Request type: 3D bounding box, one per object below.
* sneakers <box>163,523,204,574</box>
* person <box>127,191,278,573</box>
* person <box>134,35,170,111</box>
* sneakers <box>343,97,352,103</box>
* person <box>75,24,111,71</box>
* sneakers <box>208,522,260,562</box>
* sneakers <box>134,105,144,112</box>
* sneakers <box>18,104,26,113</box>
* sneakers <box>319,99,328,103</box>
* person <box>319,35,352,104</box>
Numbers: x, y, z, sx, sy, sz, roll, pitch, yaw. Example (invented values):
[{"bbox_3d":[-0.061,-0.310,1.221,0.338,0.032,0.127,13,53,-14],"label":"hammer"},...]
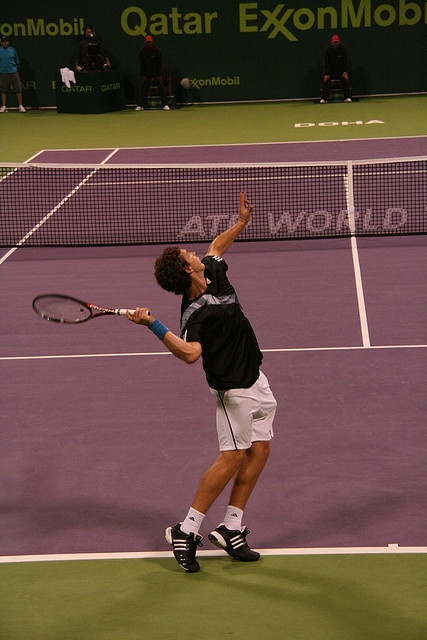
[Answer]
[{"bbox_3d":[-0.143,1.104,2.942,0.166,0.240,0.100,-3,3,-8],"label":"sneakers"},{"bbox_3d":[-0.030,0.436,3.050,0.386,1.605,0.787,-1,4,39],"label":"person"},{"bbox_3d":[-2.182,-8.630,21.292,1.163,2.374,1.471,-4,3,-6],"label":"person"},{"bbox_3d":[4.764,-7.779,21.512,0.197,0.063,0.144,2,0,33],"label":"sneakers"},{"bbox_3d":[-4.237,-9.162,20.675,1.000,1.333,0.807,-4,3,-12],"label":"person"},{"bbox_3d":[0.105,1.119,3.047,0.246,0.207,0.122,-3,3,-1],"label":"sneakers"},{"bbox_3d":[-2.700,-7.645,21.939,0.151,0.130,0.325,-1,5,0],"label":"sneakers"},{"bbox_3d":[-7.073,-7.718,22.290,0.159,0.179,0.445,-22,16,-20],"label":"sneakers"},{"bbox_3d":[3.904,-7.771,21.548,0.193,0.063,0.135,3,6,29],"label":"sneakers"},{"bbox_3d":[4.127,-8.481,20.673,0.975,1.716,1.566,-3,3,10],"label":"person"}]
